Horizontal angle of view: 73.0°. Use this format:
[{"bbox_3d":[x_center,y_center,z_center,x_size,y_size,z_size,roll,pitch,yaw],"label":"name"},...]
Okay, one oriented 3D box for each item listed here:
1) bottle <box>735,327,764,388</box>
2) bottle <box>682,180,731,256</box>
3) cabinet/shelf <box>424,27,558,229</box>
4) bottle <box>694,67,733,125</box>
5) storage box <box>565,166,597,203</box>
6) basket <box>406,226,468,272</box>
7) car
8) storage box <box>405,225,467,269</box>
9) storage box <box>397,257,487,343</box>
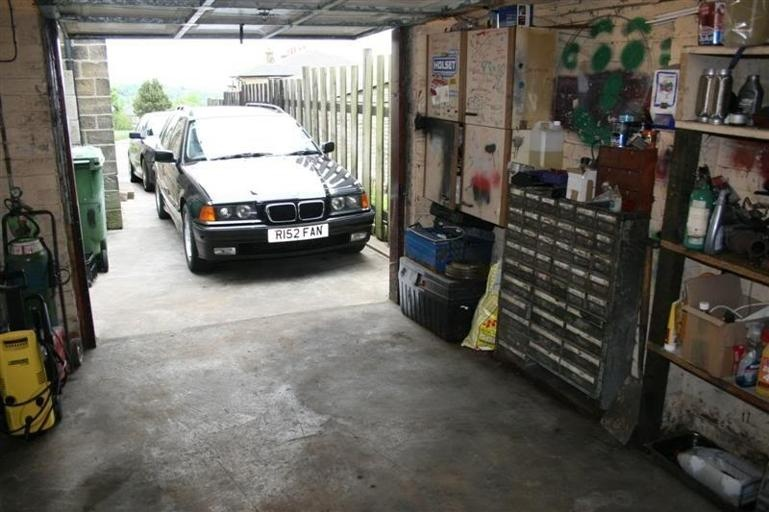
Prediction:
[{"bbox_3d":[2.616,0.715,3.727,0.148,0.399,0.281,11,22,37],"label":"bottle"},{"bbox_3d":[2.363,-0.294,3.812,0.246,0.486,0.242,-3,18,1],"label":"bottle"},{"bbox_3d":[1.110,-1.333,5.259,0.724,2.209,1.871,-6,17,-24],"label":"cabinet/shelf"},{"bbox_3d":[2.305,-1.132,3.652,0.199,0.364,0.205,-3,18,1],"label":"bottle"},{"bbox_3d":[1.728,-0.623,4.563,0.184,0.332,0.239,-7,29,-36],"label":"storage box"},{"bbox_3d":[0.618,-0.106,6.037,0.575,0.351,0.563,-8,18,-31],"label":"basket"},{"bbox_3d":[-2.072,-1.125,8.164,2.386,2.407,3.192,-17,22,-38],"label":"car"},{"bbox_3d":[0.647,-0.163,6.204,0.658,0.399,0.650,-14,23,-39],"label":"storage box"},{"bbox_3d":[0.746,0.476,6.283,0.769,0.664,1.291,-4,12,-22],"label":"storage box"}]
